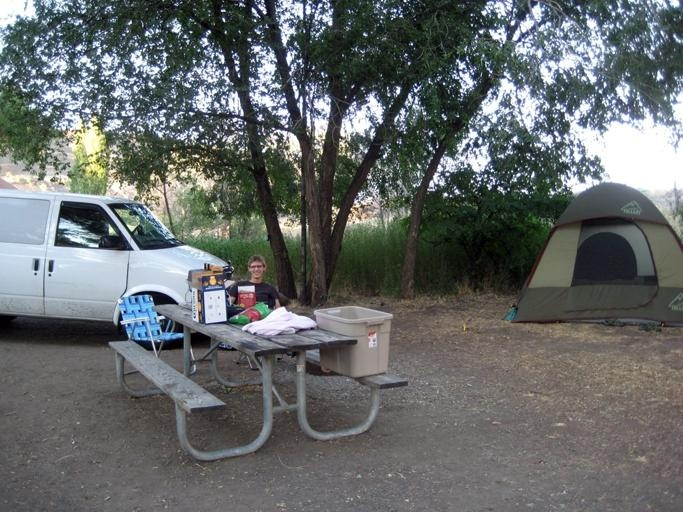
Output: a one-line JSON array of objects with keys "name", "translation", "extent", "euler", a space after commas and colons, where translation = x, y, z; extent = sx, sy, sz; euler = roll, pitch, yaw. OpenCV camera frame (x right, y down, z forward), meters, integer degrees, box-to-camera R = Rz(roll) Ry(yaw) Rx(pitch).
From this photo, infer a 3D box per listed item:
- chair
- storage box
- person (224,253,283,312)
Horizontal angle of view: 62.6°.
[{"name": "chair", "translation": [-2.487, 0.964, 7.540], "extent": [0.859, 0.923, 0.638], "euler": [-4, 3, 34]}, {"name": "storage box", "translation": [0.083, 0.854, 5.821], "extent": [0.572, 0.625, 0.793], "euler": [-1, 1, -31]}, {"name": "person", "translation": [-1.115, 0.410, 7.221], "extent": [0.849, 0.833, 0.404], "euler": [4, -12, -16]}]
